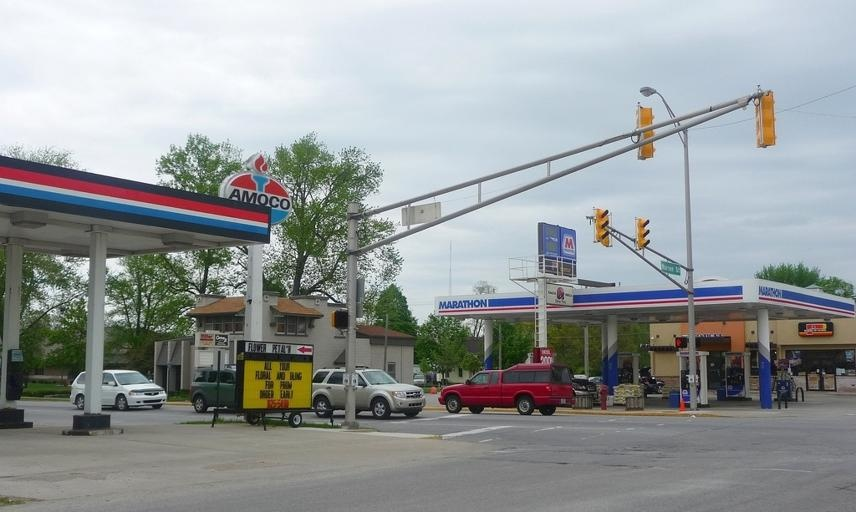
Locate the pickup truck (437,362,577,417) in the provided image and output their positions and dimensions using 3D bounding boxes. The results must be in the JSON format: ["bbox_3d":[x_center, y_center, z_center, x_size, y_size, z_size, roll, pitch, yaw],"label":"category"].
[{"bbox_3d":[4.445,7.211,53.612,6.924,2.327,3.154,-2,-7,28],"label":"pickup truck"}]
